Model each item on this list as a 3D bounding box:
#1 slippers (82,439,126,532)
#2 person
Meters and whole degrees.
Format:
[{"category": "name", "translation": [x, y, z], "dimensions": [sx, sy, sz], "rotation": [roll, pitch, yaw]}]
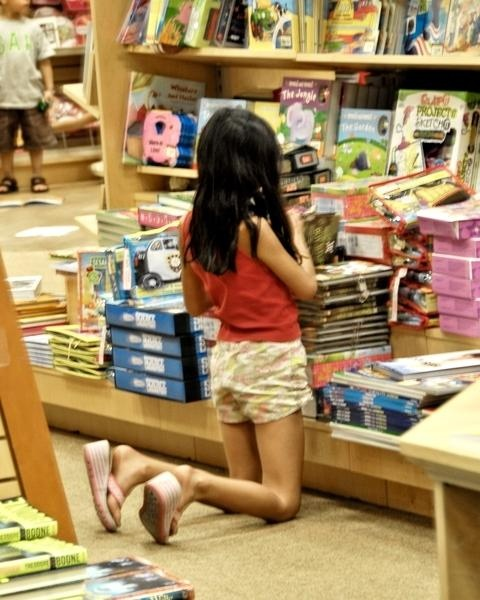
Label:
[{"category": "slippers", "translation": [-0.478, 0.684, 1.825], "dimensions": [0.155, 0.125, 0.405], "rotation": [-7, 27, -19]}, {"category": "person", "translation": [-0.112, 0.108, 1.728], "dimensions": [0.737, 1.134, 0.408], "rotation": [-4, 2, -16]}]
